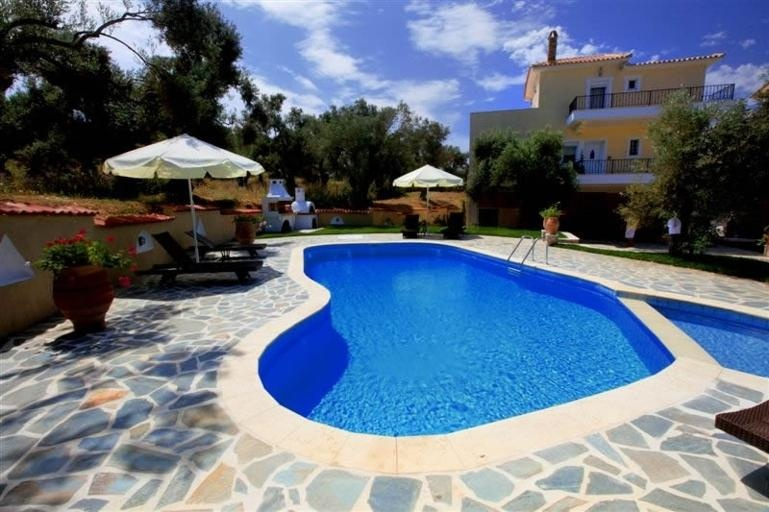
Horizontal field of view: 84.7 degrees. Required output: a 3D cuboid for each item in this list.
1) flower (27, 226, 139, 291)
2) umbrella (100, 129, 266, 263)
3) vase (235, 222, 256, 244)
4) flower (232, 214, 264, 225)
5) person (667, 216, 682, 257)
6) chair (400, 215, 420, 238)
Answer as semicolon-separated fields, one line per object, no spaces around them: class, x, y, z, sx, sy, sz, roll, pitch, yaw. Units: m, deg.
flower;-6.664;0.272;9.621;1.611;0.999;1.424;14;24;-21
umbrella;-5.468;-2.136;11.714;3.521;2.412;1.684;-4;14;-3
vase;-5.636;-0.946;17.333;0.784;0.920;0.835;-3;7;-21
flower;-5.536;-1.479;17.512;0.781;0.370;0.799;-1;-1;-6
person;10.726;-0.800;15.534;0.454;1.519;1.224;7;17;35
chair;1.365;-1.360;20.454;0.850;1.333;1.163;1;5;11
